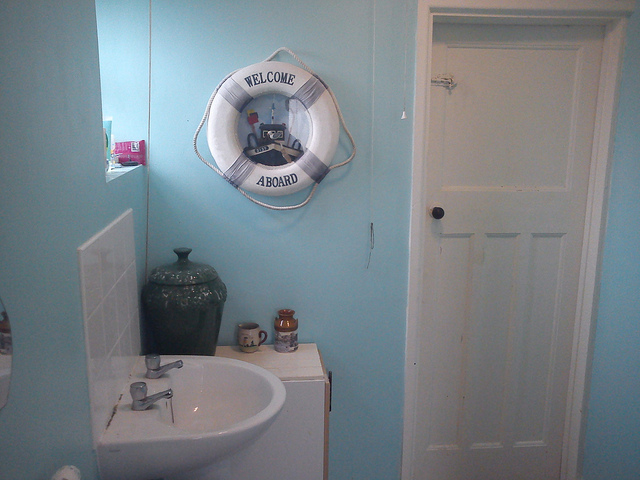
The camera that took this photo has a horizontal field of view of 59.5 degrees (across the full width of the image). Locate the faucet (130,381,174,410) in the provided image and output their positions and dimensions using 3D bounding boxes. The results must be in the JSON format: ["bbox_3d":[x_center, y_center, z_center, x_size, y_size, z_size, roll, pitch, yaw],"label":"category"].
[{"bbox_3d":[-0.541,0.483,1.762,0.156,0.097,0.058,1,15,-7],"label":"faucet"}]

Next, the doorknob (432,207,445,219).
[{"bbox_3d":[0.494,-0.107,2.313,0.058,0.047,0.023,-3,6,-28],"label":"doorknob"}]

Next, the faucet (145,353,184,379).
[{"bbox_3d":[-0.530,0.421,1.923,0.140,0.094,0.061,-5,15,-17],"label":"faucet"}]

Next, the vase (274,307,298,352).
[{"bbox_3d":[-0.140,0.373,2.297,0.096,0.166,0.097,3,8,24],"label":"vase"}]

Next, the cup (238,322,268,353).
[{"bbox_3d":[-0.276,0.411,2.292,0.123,0.098,0.084,0,1,0],"label":"cup"}]

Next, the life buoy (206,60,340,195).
[{"bbox_3d":[-0.187,-0.435,2.059,0.496,0.533,0.136,-3,8,-2],"label":"life buoy"}]

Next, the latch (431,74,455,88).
[{"bbox_3d":[0.502,-0.647,2.264,0.062,0.052,0.026,1,7,-4],"label":"latch"}]
